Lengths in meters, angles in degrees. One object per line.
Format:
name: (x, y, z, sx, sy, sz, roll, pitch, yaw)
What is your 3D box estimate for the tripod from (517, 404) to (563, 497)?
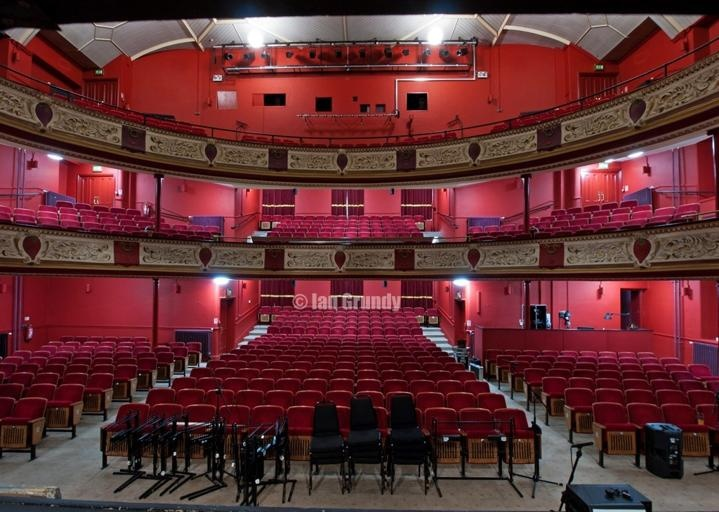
tripod: (3.755, 4.222, 11.990, 1.175, 1.565, 0.976, 2, 5, 34)
